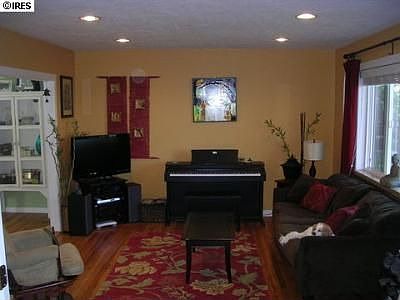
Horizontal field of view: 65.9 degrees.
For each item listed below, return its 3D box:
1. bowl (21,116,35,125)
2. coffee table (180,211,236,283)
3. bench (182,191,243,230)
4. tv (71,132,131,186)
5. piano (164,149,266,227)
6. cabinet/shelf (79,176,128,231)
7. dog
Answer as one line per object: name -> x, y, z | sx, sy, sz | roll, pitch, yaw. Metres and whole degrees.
bowl -> -3.496, -0.586, 6.192 | 0.290, 0.147, 0.110 | 1, 10, 11
coffee table -> 0.137, 1.385, 4.429 | 0.701, 0.645, 0.897 | 0, 10, 3
bench -> 0.222, 1.191, 5.826 | 1.070, 0.650, 0.570 | 1, -2, -1
tv -> -1.903, 0.187, 5.918 | 1.101, 0.783, 0.284 | -3, 2, -31
piano -> 0.351, 0.716, 6.435 | 1.906, 1.461, 1.071 | -1, 3, 3
cabinet/shelf -> -1.887, 1.035, 6.152 | 0.765, 0.870, 0.591 | -5, 8, -38
dog -> 1.361, 1.079, 3.980 | 0.395, 0.190, 0.490 | -7, 3, -34
